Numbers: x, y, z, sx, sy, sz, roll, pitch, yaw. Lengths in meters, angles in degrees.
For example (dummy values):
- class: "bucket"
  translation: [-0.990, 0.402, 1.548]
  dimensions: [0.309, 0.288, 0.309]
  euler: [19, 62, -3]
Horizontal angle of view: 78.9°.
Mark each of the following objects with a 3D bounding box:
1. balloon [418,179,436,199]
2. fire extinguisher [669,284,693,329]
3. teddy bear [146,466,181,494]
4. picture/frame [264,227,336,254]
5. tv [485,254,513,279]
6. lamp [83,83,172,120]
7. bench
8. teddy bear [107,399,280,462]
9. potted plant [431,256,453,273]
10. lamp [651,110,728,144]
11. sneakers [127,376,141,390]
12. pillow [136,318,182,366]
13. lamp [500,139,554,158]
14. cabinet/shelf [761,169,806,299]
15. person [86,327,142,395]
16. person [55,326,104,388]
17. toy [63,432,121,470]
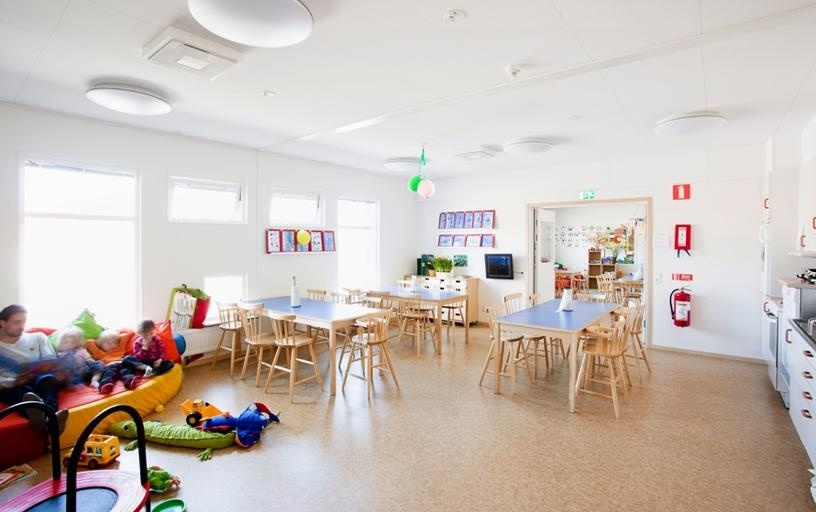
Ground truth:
- class: "balloon"
  translation: [0.259, -1.037, 7.364]
  dimensions: [0.223, 0.261, 0.233]
  euler: [0, -2, -6]
- class: "fire extinguisher"
  translation: [4.166, 0.781, 7.575]
  dimensions: [0.305, 0.627, 0.202]
  euler: [-1, -2, 26]
- class: "teddy bear"
  translation: [-2.347, 2.137, 4.760]
  dimensions: [0.254, 0.183, 0.386]
  euler: [2, -3, -41]
- class: "picture/frame"
  translation: [-1.737, -0.246, 8.142]
  dimensions: [1.274, 0.431, 0.095]
  euler: [2, -3, -43]
- class: "tv"
  translation: [1.723, 0.178, 9.272]
  dimensions: [0.492, 0.416, 0.052]
  euler: [0, 0, 37]
- class: "lamp"
  translation: [-3.116, -1.787, 5.572]
  dimensions: [0.819, 0.222, 0.378]
  euler: [1, -3, -20]
- class: "bench"
  translation: [-3.401, 1.636, 5.369]
  dimensions: [1.256, 0.545, 1.609]
  euler: [12, 13, 17]
- class: "teddy bear"
  translation: [-2.206, 1.856, 5.253]
  dimensions: [1.147, 0.254, 0.659]
  euler: [6, -3, 5]
- class: "potted plant"
  translation: [0.679, 0.161, 9.675]
  dimensions: [0.343, 0.250, 0.295]
  euler: [0, -4, -2]
- class: "lamp"
  translation: [3.470, -1.668, 6.142]
  dimensions: [0.756, 0.186, 0.484]
  euler: [-2, -3, 36]
- class: "sneakers"
  translation: [-3.096, 1.447, 5.683]
  dimensions: [0.075, 0.069, 0.163]
  euler: [8, 26, 29]
- class: "pillow"
  translation: [-3.155, 1.094, 6.054]
  dimensions: [0.597, 0.578, 0.419]
  euler: [1, 13, -17]
- class: "lamp"
  translation: [1.743, -1.595, 7.106]
  dimensions: [0.702, 0.157, 0.456]
  euler: [0, -3, 9]
- class: "cabinet/shelf"
  translation: [4.860, -0.313, 6.543]
  dimensions: [0.479, 1.627, 0.352]
  euler: [-2, 4, 24]
- class: "person"
  translation: [-3.498, 1.248, 5.995]
  dimensions: [0.576, 0.374, 1.079]
  euler: [-17, 34, -26]
- class: "person"
  translation: [-3.791, 1.149, 5.778]
  dimensions: [0.532, 0.688, 0.293]
  euler: [-9, -6, -10]
- class: "toy"
  translation: [-3.174, 1.947, 4.949]
  dimensions: [0.427, 0.231, 0.265]
  euler: [2, 2, -10]
